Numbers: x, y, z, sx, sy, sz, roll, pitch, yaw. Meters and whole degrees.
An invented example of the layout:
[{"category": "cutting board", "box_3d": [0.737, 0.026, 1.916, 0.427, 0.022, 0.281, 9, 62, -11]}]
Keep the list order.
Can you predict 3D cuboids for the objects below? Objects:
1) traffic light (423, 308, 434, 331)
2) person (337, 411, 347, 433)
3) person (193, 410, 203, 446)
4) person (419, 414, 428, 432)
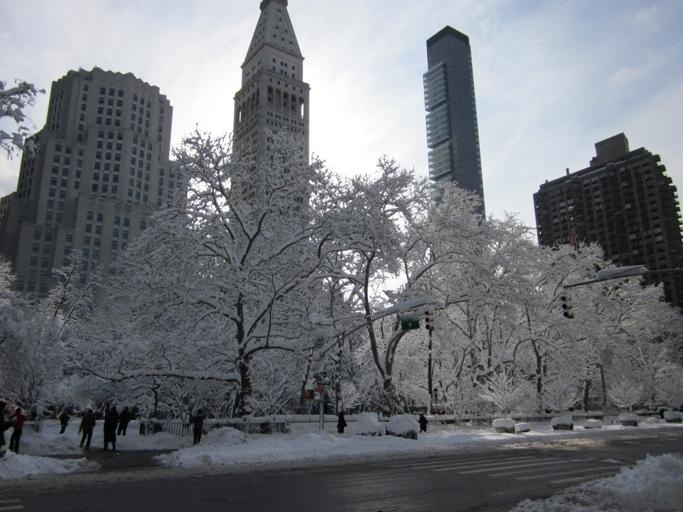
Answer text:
[{"category": "traffic light", "box_3d": [3.907, 2.772, 24.745, 0.294, 1.077, 1.198, -4, -17, 14]}, {"category": "person", "box_3d": [-0.033, 8.667, 28.890, 0.427, 1.144, 1.055, 0, -16, 0]}, {"category": "person", "box_3d": [-6.894, 8.114, 26.338, 0.349, 1.470, 1.291, 5, -17, -17]}, {"category": "person", "box_3d": [4.923, 10.054, 33.352, 0.437, 1.012, 1.075, -2, -17, 6]}]
